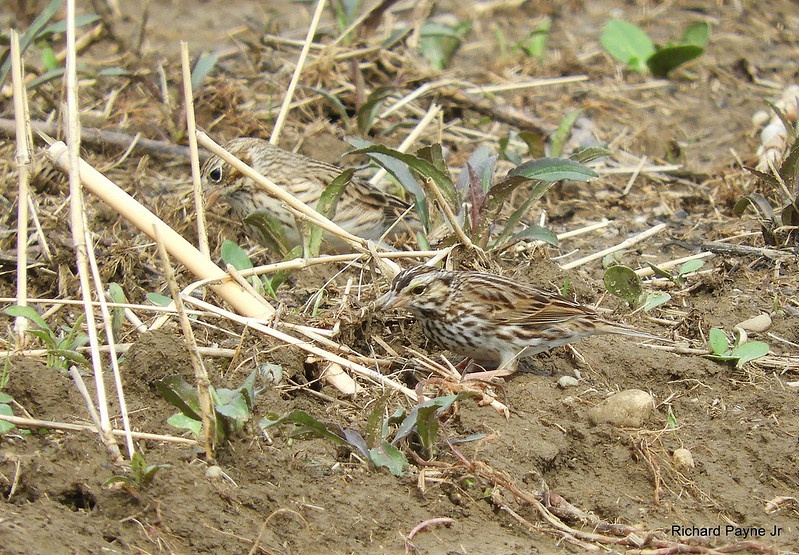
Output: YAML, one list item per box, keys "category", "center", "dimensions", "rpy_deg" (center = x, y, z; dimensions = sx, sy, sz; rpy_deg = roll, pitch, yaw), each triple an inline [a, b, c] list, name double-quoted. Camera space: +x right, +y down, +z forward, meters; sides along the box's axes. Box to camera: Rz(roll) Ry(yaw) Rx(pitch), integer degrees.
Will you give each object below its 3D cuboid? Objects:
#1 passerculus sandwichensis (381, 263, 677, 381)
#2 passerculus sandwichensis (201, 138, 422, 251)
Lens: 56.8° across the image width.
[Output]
- category: "passerculus sandwichensis"
  center: [0.634, 0.257, 5.243]
  dimensions: [2.299, 0.709, 0.820]
  rpy_deg: [-7, 88, -1]
- category: "passerculus sandwichensis"
  center: [-0.626, -0.670, 6.687]
  dimensions: [2.718, 0.995, 0.875]
  rpy_deg: [-4, 10, -29]
